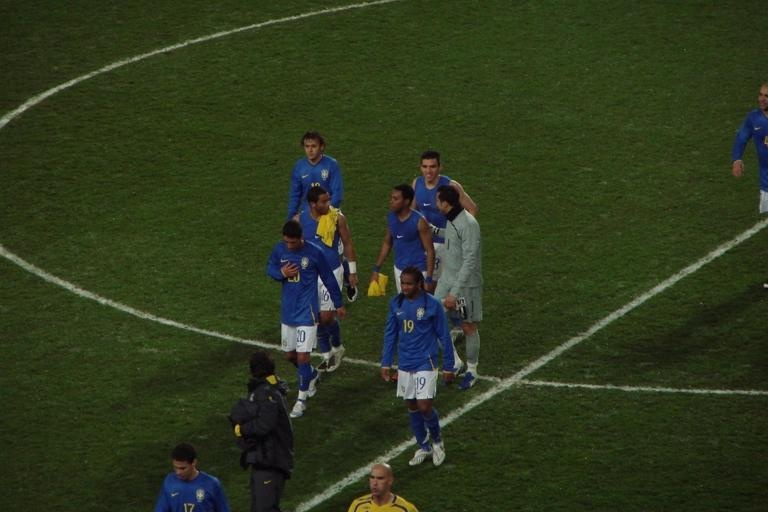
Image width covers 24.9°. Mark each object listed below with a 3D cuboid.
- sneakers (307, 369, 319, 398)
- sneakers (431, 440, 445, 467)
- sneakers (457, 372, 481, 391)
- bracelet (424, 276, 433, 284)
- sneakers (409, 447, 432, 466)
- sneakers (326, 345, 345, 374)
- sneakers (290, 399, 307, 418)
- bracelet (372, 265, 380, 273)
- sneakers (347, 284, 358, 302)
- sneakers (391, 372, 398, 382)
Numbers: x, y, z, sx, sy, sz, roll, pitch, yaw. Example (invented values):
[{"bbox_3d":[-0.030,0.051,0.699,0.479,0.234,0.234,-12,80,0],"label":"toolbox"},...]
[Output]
[{"bbox_3d":[-1.117,2.114,28.100,0.177,0.200,0.455,6,36,13],"label":"sneakers"},{"bbox_3d":[0.861,3.066,26.855,0.218,0.223,0.382,1,31,9],"label":"sneakers"},{"bbox_3d":[1.379,2.057,28.148,0.193,0.150,0.398,7,21,41],"label":"sneakers"},{"bbox_3d":[0.763,0.463,28.473,0.132,0.116,0.079,0,98,-1],"label":"bracelet"},{"bbox_3d":[0.580,3.114,26.937,0.422,0.198,0.170,-18,105,-4],"label":"sneakers"},{"bbox_3d":[-0.781,1.749,28.647,0.197,0.238,0.486,21,76,7],"label":"sneakers"},{"bbox_3d":[-1.337,2.471,27.736,0.159,0.403,0.159,7,102,20],"label":"sneakers"},{"bbox_3d":[-0.106,0.286,28.453,0.111,0.095,0.086,-1,91,-3],"label":"bracelet"},{"bbox_3d":[-0.503,0.624,28.813,0.132,0.140,0.329,0,35,-2],"label":"sneakers"},{"bbox_3d":[0.199,2.009,28.376,0.112,0.039,0.179,15,31,26],"label":"sneakers"}]
